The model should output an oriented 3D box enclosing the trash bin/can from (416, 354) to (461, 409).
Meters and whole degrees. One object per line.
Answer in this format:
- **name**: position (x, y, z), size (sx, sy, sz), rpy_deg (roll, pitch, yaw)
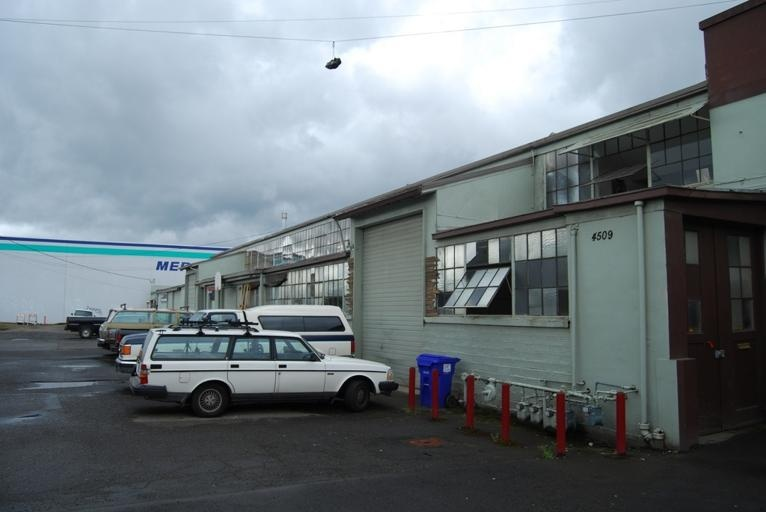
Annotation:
- **trash bin/can**: position (1.263, 3.330, 16.082), size (1.376, 1.475, 1.239), rpy_deg (2, 1, -12)
